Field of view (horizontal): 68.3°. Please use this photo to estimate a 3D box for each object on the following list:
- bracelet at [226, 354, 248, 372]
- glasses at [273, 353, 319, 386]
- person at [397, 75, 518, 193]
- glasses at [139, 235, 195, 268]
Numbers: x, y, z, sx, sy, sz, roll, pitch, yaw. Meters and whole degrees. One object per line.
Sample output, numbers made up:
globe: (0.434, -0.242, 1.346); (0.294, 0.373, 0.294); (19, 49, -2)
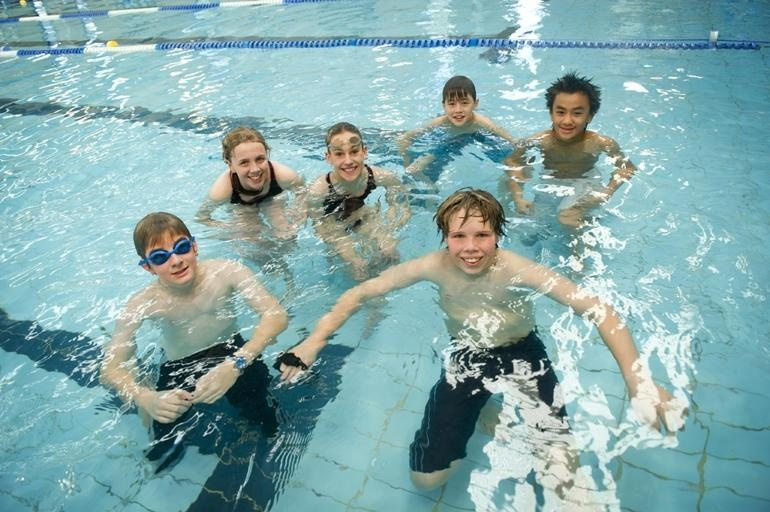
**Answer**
bracelet: (-0.899, 0.651, 3.475); (0.100, 0.051, 0.117); (-22, 38, -23)
glasses: (-0.566, 0.682, 3.396); (0.233, 0.061, 0.179); (17, 70, 11)
person: (0.626, -1.156, 5.046); (1.226, 0.812, 0.597); (-8, 39, -4)
glasses: (-1.346, -0.025, 3.506); (0.349, 0.134, 0.113); (-19, 40, -21)
